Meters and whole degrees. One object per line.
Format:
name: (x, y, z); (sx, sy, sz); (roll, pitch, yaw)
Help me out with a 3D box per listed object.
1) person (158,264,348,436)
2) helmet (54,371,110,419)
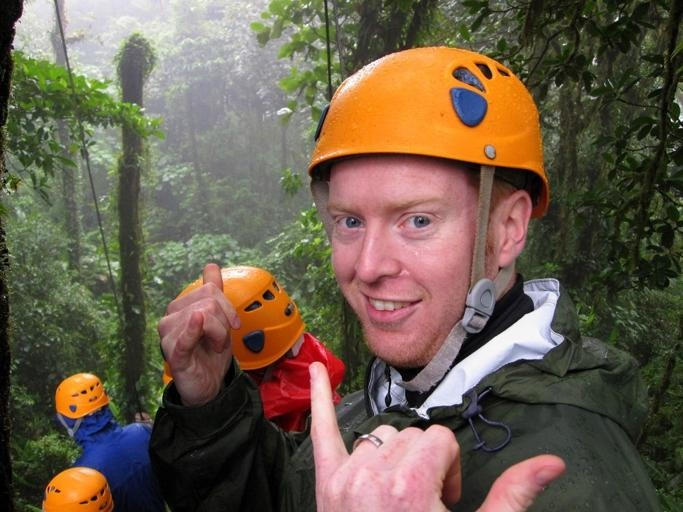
person: (-0.852, 0.809, 5.899); (1.333, 1.582, 1.034); (4, 15, -7)
helmet: (-2.160, 1.161, 5.493); (0.414, 0.342, 0.291); (-41, -18, 26)
